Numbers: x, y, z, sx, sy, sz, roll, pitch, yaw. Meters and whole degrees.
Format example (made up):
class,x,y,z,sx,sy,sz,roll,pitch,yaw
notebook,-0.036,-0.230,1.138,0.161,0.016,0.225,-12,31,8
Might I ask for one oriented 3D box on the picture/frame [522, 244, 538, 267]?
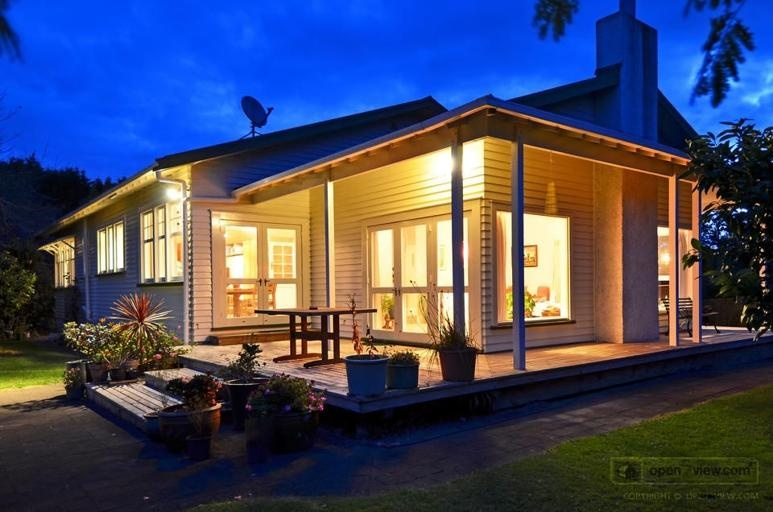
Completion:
class,x,y,z,sx,sy,sz,roll,pitch,yaw
picture/frame,2.453,-0.027,11.038,0.400,0.416,0.040,-1,2,-23

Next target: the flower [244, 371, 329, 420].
class,x,y,z,sx,sy,sz,roll,pitch,yaw
flower,-1.240,1.729,7.835,0.923,0.413,0.419,-4,7,-15

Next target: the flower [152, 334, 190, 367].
class,x,y,z,sx,sy,sz,roll,pitch,yaw
flower,-3.870,1.687,11.447,0.564,0.451,0.499,0,0,17

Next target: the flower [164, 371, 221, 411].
class,x,y,z,sx,sy,sz,roll,pitch,yaw
flower,-2.528,1.674,8.255,0.563,0.358,0.575,8,-22,-15

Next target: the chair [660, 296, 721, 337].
class,x,y,z,sx,sy,sz,roll,pitch,yaw
chair,6.580,1.256,13.636,0.487,0.628,1.385,-5,-2,-12

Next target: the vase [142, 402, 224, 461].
class,x,y,z,sx,sy,sz,roll,pitch,yaw
vase,-2.408,2.101,7.818,0.622,0.420,0.621,-7,-11,-3

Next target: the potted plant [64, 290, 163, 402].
class,x,y,z,sx,sy,sz,roll,pitch,yaw
potted plant,-4.843,1.532,11.764,2.084,2.076,1.860,2,-4,-16

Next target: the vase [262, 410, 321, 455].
class,x,y,z,sx,sy,sz,roll,pitch,yaw
vase,-1.142,2.152,7.989,0.738,0.475,0.744,-5,-14,21
